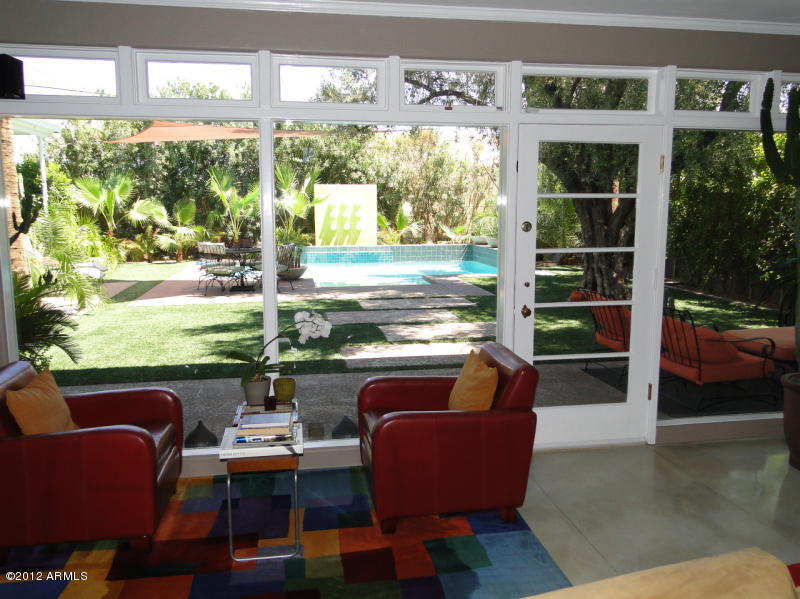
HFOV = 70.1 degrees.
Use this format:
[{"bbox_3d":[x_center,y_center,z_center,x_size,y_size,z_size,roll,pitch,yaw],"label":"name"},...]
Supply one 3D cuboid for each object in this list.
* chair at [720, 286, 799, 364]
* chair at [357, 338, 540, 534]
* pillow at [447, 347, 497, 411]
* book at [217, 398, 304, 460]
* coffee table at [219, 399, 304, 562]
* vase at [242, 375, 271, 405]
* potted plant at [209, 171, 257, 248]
[{"bbox_3d":[4.323,0.298,6.795,0.774,0.559,0.767,-6,10,-3],"label":"chair"},{"bbox_3d":[0.210,0.874,4.155,1.253,1.074,1.141,0,5,-7],"label":"chair"},{"bbox_3d":[0.539,0.594,4.205,0.230,0.441,0.396,12,21,-28],"label":"pillow"},{"bbox_3d":[-0.893,0.844,3.674,0.510,0.117,0.508,0,14,-4],"label":"book"},{"bbox_3d":[-0.896,1.212,3.715,0.344,0.450,0.895,0,2,-5],"label":"coffee table"},{"bbox_3d":[-0.992,0.623,3.961,0.193,0.159,0.202,0,-1,-3],"label":"vase"},{"bbox_3d":[-5.525,-3.225,18.994,1.666,2.375,1.226,-3,11,-10],"label":"potted plant"}]
